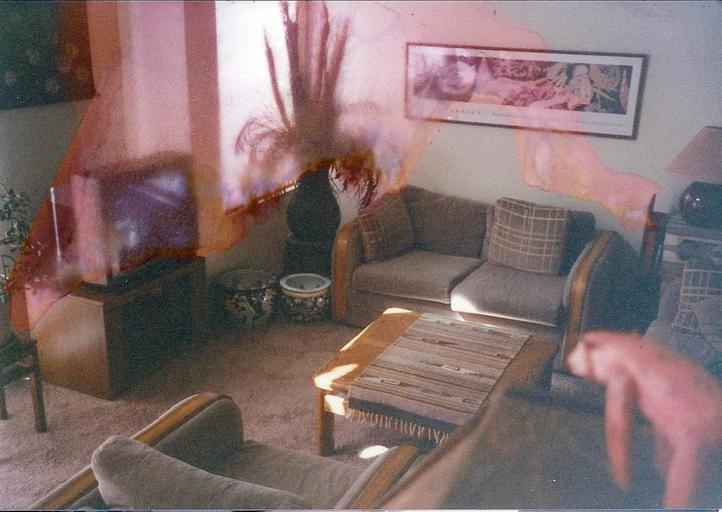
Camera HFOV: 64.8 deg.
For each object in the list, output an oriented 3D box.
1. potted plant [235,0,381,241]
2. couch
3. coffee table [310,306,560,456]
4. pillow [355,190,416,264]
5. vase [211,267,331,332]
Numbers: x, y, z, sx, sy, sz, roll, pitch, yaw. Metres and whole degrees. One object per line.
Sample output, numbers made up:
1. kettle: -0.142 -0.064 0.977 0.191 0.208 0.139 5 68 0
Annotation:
1. potted plant: -0.177 -0.418 1.993 0.557 0.857 0.628 -1 10 -23
2. couch: 0.328 0.033 1.668 0.762 0.384 0.352 10 29 33
3. coffee table: 0.227 0.393 1.645 0.592 0.249 0.449 3 27 23
4. pillow: 0.065 -0.082 1.597 0.184 0.174 0.077 -22 13 -14
5. vase: -0.263 0.128 1.676 0.301 0.102 0.165 2 19 4
